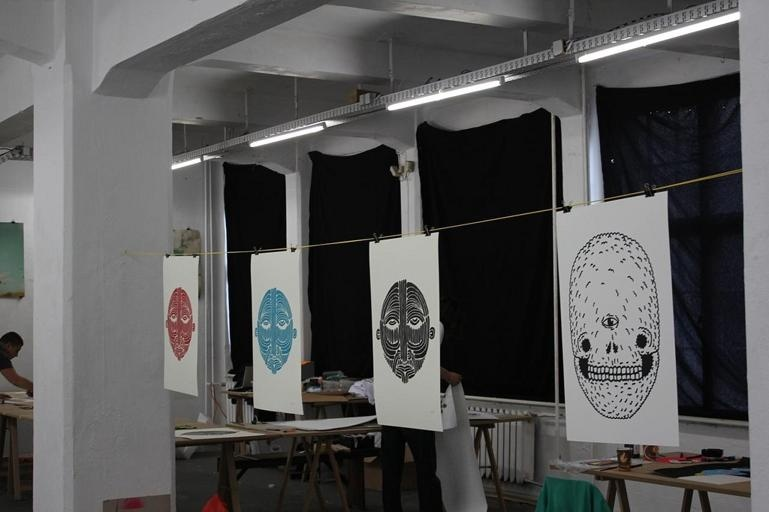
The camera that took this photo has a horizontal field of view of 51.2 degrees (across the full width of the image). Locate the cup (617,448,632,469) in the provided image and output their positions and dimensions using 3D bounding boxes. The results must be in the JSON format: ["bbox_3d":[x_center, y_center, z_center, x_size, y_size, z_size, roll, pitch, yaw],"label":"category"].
[{"bbox_3d":[1.953,1.642,6.474,0.125,0.153,0.129,0,-6,0],"label":"cup"}]
